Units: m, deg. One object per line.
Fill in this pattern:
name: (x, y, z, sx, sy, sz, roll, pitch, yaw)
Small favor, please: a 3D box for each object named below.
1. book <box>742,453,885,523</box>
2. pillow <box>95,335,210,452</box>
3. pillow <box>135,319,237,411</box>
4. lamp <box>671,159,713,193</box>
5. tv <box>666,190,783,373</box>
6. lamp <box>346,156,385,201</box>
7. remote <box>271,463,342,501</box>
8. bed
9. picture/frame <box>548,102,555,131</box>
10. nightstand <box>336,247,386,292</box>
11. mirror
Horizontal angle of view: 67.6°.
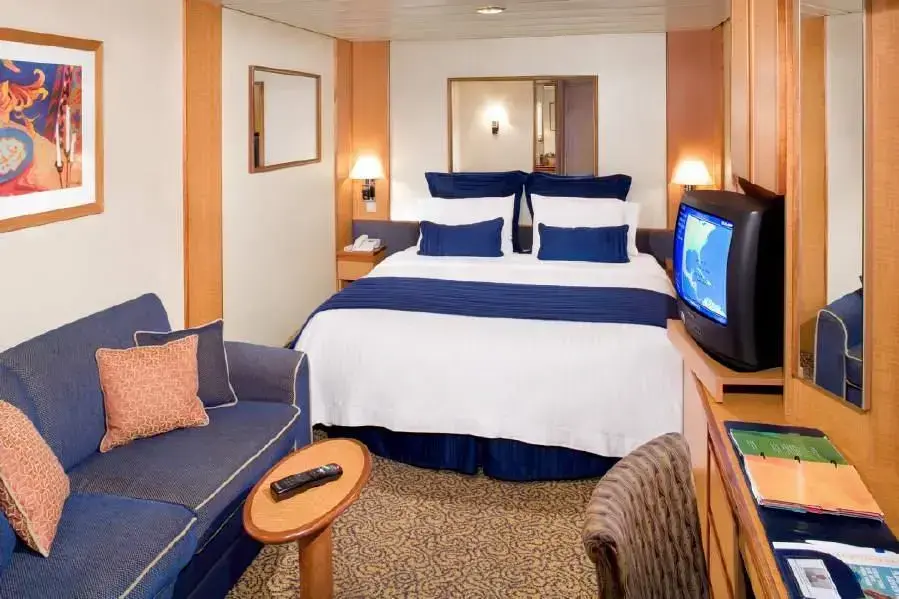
book: (1.102, 0.570, 2.062, 0.350, 0.075, 0.202, 5, 17, 12)
pillow: (-1.468, 0.477, 3.276, 0.477, 0.447, 0.242, -9, 10, -33)
pillow: (-1.358, 0.356, 3.441, 0.372, 0.371, 0.133, -16, -13, -23)
lamp: (2.089, -1.068, 5.811, 0.284, 0.451, 0.316, -2, 19, 12)
tv: (1.139, -0.071, 2.740, 0.425, 0.682, 0.785, -2, 6, 4)
lamp: (-0.767, -1.187, 6.627, 0.397, 0.471, 0.391, -12, 18, -40)
remote: (-0.625, 0.786, 2.925, 0.260, 0.040, 0.116, -13, 17, -31)
bed: (0.313, 0.435, 4.428, 2.220, 0.935, 1.294, 5, 17, 11)
picture/frame: (0.943, -1.685, 6.222, 0.072, 0.258, 0.043, 6, 18, 15)
nightstand: (-0.860, -0.303, 6.669, 0.404, 0.434, 0.437, 1, 9, 9)
mirror: (0.716, -1.642, 6.276, 0.998, 0.693, 0.049, 2, 11, 14)
